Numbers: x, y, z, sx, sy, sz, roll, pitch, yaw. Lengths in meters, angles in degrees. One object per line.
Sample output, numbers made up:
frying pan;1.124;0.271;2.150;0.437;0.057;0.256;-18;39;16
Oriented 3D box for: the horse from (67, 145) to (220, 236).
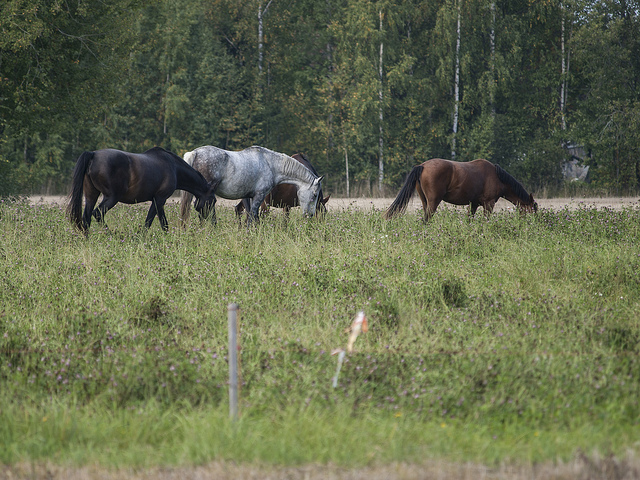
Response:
horse;-6.035;-1.763;39.684;5.035;3.803;1.566;3;18;-24
